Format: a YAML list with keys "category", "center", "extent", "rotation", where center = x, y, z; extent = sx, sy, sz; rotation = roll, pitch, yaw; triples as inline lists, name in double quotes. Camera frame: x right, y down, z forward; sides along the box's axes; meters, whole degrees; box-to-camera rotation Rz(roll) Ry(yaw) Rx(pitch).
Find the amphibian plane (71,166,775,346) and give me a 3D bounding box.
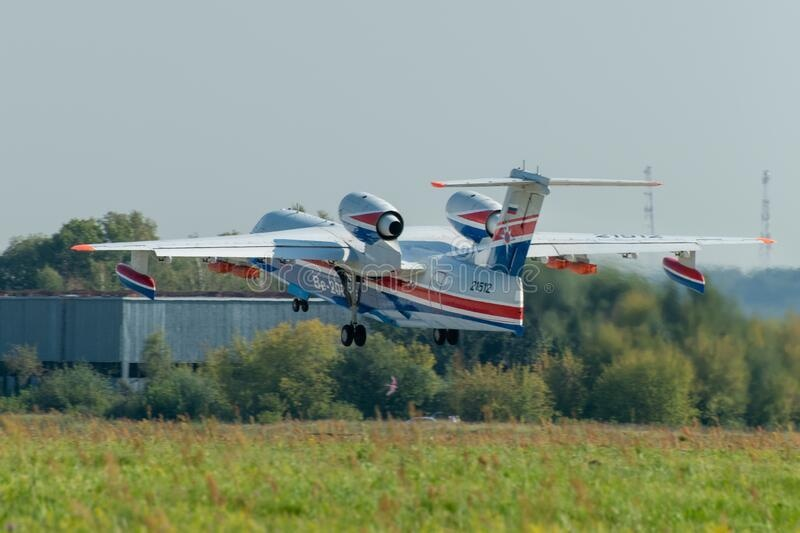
- category: "amphibian plane"
  center: [0.953, -0.308, 71.961]
  extent: [24.502, 8.600, 7.337]
  rotation: [2, -2, 9]
